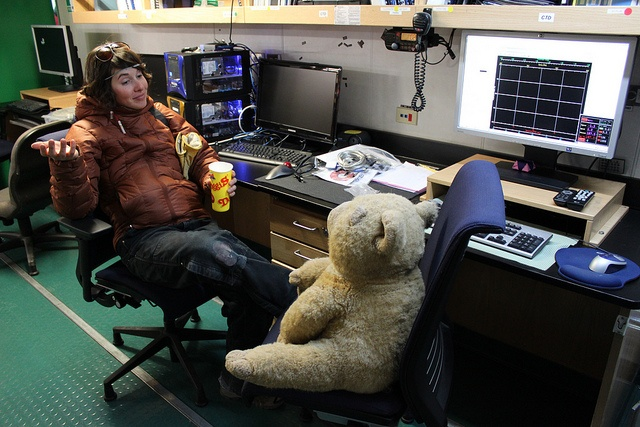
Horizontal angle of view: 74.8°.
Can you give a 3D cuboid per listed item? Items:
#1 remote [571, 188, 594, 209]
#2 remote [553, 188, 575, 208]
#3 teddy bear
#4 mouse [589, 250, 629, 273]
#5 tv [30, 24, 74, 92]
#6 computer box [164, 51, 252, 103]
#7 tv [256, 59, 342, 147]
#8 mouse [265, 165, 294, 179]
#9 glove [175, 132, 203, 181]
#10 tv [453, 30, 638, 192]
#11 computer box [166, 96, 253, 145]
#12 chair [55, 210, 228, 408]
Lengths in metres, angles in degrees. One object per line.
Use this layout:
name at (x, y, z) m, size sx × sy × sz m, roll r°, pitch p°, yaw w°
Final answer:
remote at (1.192, -0.066, 1.924) m, size 0.057 × 0.053 × 0.171 m, roll 23°, pitch 32°, yaw 37°
remote at (1.108, -0.076, 1.921) m, size 0.087 × 0.023 × 0.088 m, roll 13°, pitch 47°, yaw 47°
teddy bear at (0.050, 0.287, 1.623) m, size 0.698 × 0.687 × 0.726 m, roll 5°, pitch 9°, yaw 37°
mouse at (1.174, 0.197, 1.724) m, size 0.161 × 0.050 × 0.087 m, roll -9°, pitch 28°, yaw -24°
tv at (-2.673, -1.589, 4.203) m, size 0.681 × 0.655 × 0.221 m, roll 14°, pitch 20°, yaw 29°
computer box at (-0.816, -1.070, 3.115) m, size 0.484 × 0.298 × 0.480 m, roll -18°, pitch 29°, yaw -35°
tv at (-0.148, -0.770, 2.876) m, size 0.719 × 0.485 × 0.063 m, roll 20°, pitch 25°, yaw 35°
mouse at (-0.240, -0.269, 2.512) m, size 0.089 × 0.046 × 0.136 m, roll 17°, pitch 29°, yaw 40°
glove at (-0.790, -0.337, 2.512) m, size 0.107 × 0.235 × 0.244 m, roll -3°, pitch 18°, yaw -32°
tv at (1.119, -0.515, 2.032) m, size 0.748 × 0.663 × 0.266 m, roll 18°, pitch 32°, yaw 38°
computer box at (-0.771, -0.722, 3.107) m, size 0.436 × 0.259 × 0.415 m, roll -16°, pitch 31°, yaw -33°
chair at (-0.877, 0.380, 2.436) m, size 0.835 × 1.001 × 0.867 m, roll 0°, pitch 11°, yaw 13°
